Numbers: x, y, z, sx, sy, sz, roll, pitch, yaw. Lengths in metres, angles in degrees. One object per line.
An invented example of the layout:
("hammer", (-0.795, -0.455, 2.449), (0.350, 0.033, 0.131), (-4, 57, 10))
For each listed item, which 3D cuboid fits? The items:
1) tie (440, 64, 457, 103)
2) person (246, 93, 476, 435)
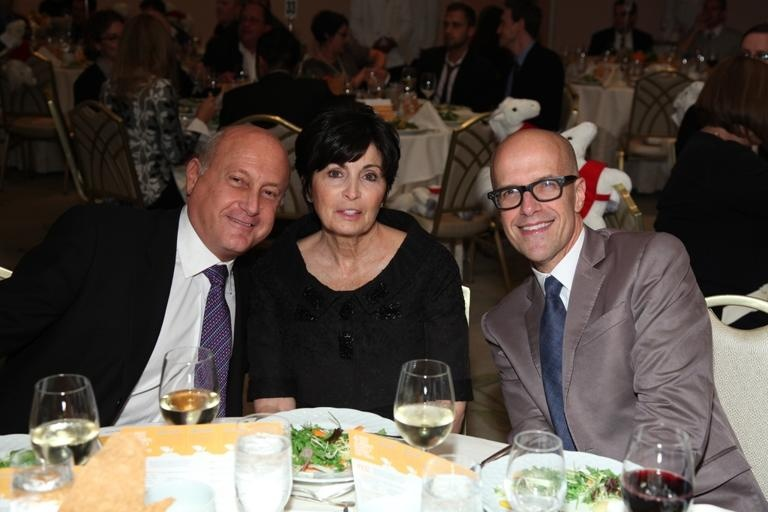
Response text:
("tie", (0.719, -1.878, 6.674), (0.101, 0.388, 0.269), (11, -12, -39))
("person", (-0.105, 0.077, 2.167), (0.726, 1.177, 0.598), (0, 23, 0))
